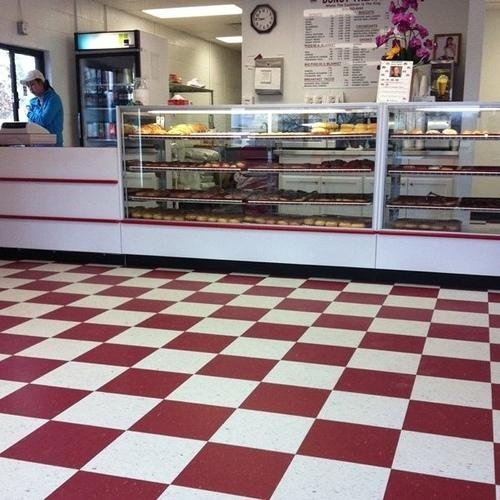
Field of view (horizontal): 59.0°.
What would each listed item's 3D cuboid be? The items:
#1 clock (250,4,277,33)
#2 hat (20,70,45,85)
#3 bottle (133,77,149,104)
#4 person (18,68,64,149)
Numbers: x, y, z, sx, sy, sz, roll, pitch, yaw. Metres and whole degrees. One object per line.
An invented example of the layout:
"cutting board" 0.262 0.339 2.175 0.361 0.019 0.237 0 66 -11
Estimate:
"clock" 0.200 -3.207 6.142 0.472 0.401 0.058 2 6 20
"hat" -2.406 -1.956 5.000 0.197 0.134 0.279 10 10 38
"bottle" -1.015 -1.469 4.135 0.140 0.257 0.156 -2 10 -13
"person" -2.382 -1.680 5.094 0.396 0.660 0.364 -2 11 -14
